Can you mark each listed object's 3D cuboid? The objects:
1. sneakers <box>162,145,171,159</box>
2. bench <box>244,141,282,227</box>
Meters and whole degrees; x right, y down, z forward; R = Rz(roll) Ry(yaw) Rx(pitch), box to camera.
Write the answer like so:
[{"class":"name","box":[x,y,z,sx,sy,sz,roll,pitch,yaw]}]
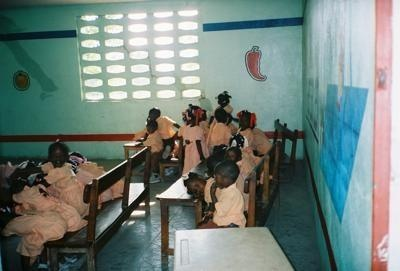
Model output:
[{"class":"sneakers","box":[-0.646,0.325,6.352,0.126,0.244,0.052,19,-18,3]},{"class":"bench","box":[0.746,0.598,3.921,0.349,0.553,1.000,2,16,19]}]
